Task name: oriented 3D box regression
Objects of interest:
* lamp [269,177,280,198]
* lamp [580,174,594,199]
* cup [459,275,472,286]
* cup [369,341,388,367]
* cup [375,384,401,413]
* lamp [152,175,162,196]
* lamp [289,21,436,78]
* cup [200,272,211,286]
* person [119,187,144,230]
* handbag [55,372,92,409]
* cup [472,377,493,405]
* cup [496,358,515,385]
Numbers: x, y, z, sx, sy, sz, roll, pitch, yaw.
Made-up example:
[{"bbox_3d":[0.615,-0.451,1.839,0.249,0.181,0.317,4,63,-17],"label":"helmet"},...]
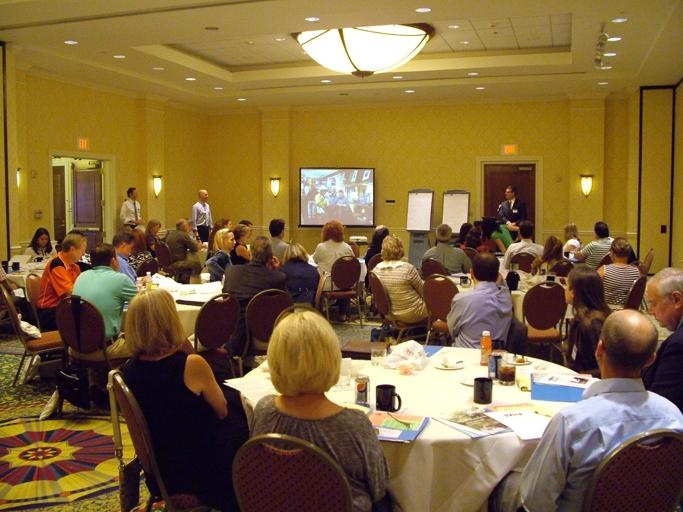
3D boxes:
[{"bbox_3d":[-1.698,-1.761,13.524,0.308,0.499,0.132,-3,13,17],"label":"lamp"},{"bbox_3d":[5.550,-1.576,11.814,0.287,0.516,0.134,-3,13,16],"label":"lamp"},{"bbox_3d":[1.452,0.301,6.058,0.134,0.138,0.086,2,-1,-11],"label":"cup"},{"bbox_3d":[0.221,0.583,3.107,0.111,0.132,0.118,1,-1,0],"label":"cup"},{"bbox_3d":[0.226,0.694,2.583,0.141,0.131,0.091,5,6,36],"label":"cup"},{"bbox_3d":[-4.291,-1.639,12.328,0.125,0.508,0.324,-3,13,14],"label":"lamp"},{"bbox_3d":[0.318,-2.879,7.275,1.729,0.761,0.728,-7,13,1],"label":"lamp"},{"bbox_3d":[-1.608,0.275,6.147,0.129,0.147,0.133,-1,3,0],"label":"cup"},{"bbox_3d":[-4.511,-1.045,11.449,0.422,0.814,0.492,1,3,18],"label":"person"},{"bbox_3d":[-2.097,1.054,4.105,0.340,0.340,0.150,2,1,22],"label":"handbag"},{"bbox_3d":[0.700,0.669,2.602,0.108,0.125,0.109,-2,2,0],"label":"cup"},{"bbox_3d":[0.900,0.655,2.915,0.079,0.133,0.128,-1,0,-37],"label":"cup"}]
